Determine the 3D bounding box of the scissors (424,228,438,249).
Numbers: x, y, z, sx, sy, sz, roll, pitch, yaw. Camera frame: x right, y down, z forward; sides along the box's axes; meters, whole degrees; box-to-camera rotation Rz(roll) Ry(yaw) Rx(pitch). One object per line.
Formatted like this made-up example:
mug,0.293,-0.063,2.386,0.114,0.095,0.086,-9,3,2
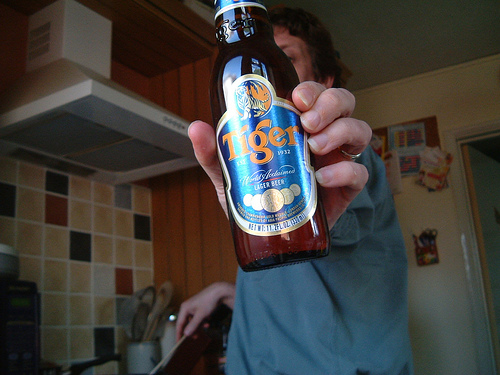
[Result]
scissors,1.545,0.437,3.464,0.104,0.151,0.064,3,-4,8

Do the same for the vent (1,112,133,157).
vent,-0.694,-0.195,1.541,0.389,0.047,0.240,-12,-14,17

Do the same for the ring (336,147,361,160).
ring,0.206,-0.072,0.864,0.045,0.026,0.016,-2,-15,-24

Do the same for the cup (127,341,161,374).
cup,-0.443,0.703,1.728,0.134,0.138,0.135,-1,-8,0

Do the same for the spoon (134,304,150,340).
spoon,-0.479,0.617,1.832,0.028,0.118,0.071,18,-5,15

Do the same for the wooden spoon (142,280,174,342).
wooden spoon,-0.405,0.550,1.849,0.069,0.275,0.076,16,-29,7

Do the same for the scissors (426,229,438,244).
scissors,1.564,0.422,3.454,0.074,0.104,0.035,-3,0,14
